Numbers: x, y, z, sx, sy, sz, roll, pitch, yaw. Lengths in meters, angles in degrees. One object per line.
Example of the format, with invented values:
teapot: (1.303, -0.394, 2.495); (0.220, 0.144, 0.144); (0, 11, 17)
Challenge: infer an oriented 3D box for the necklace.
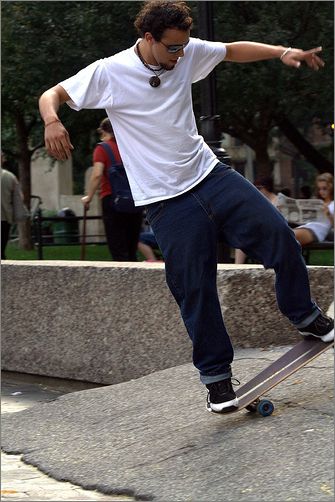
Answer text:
necklace: (-0.051, -0.707, 2.088); (0.133, 0.149, 0.041); (-9, 3, -14)

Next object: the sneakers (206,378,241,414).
sneakers: (0.212, 0.559, 2.116); (0.076, 0.068, 0.159); (-10, 2, -8)

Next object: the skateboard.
skateboard: (0.432, 0.543, 2.318); (0.530, 0.077, 0.118); (-32, 14, 0)

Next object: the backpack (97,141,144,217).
backpack: (-0.472, -0.639, 5.545); (0.396, 0.590, 0.617); (-13, 7, -26)

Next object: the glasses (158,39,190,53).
glasses: (0.019, -0.757, 2.034); (0.086, 0.048, 0.025); (-10, 15, -17)

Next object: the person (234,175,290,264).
person: (1.179, -0.448, 7.297); (0.454, 1.182, 0.915); (12, -9, -32)

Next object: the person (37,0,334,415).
person: (0.131, -0.189, 2.174); (1.113, 1.558, 0.578); (-9, 15, -11)
